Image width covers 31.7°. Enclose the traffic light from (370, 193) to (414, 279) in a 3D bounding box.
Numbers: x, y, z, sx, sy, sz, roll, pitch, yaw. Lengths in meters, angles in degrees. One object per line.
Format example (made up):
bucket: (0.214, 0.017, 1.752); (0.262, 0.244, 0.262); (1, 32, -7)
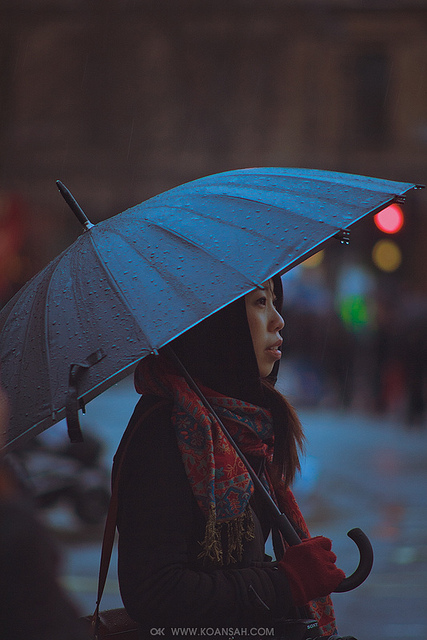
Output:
traffic light: (0.810, -0.359, 3.406); (0.102, 0.427, 0.226); (4, 18, 20)
